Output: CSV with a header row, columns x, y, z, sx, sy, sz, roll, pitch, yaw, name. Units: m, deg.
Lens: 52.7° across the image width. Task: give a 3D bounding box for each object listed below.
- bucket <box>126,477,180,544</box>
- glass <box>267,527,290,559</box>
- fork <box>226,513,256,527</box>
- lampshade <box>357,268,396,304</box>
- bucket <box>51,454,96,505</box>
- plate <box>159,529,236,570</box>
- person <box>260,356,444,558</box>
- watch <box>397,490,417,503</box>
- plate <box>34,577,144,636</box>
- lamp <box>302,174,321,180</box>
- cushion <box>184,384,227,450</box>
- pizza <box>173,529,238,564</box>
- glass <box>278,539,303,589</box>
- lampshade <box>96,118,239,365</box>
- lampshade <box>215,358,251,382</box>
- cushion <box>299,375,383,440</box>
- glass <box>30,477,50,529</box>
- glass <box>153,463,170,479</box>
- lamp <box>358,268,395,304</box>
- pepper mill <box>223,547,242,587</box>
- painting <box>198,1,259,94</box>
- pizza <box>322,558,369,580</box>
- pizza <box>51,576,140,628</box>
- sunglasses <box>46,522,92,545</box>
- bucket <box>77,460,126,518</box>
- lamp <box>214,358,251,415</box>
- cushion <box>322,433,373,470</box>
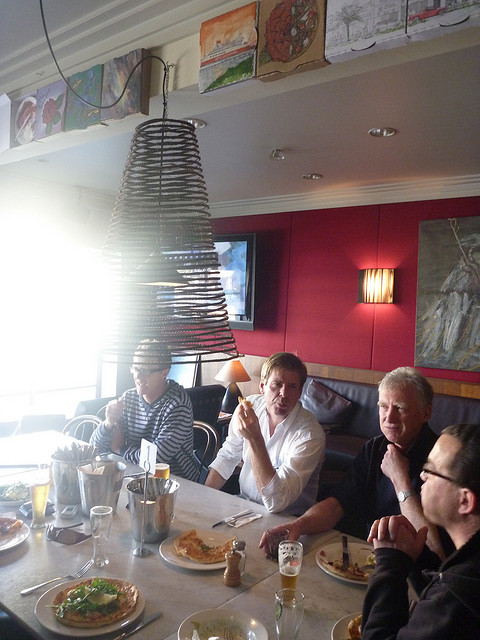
x,y,z,sx,sy,sz,roll,pitch,yaw,name
-0.261,0.587,1.518,0.166,0.148,0.171,0,-7,0,bucket
0.100,0.621,1.362,0.073,0.077,0.073,2,-8,-6,glass
0.010,0.667,1.636,0.027,0.004,0.104,8,9,44,fork
1.195,-0.290,4.329,0.324,0.310,0.308,4,-8,6,lampshade
-0.616,0.580,1.772,0.167,0.169,0.165,-2,-20,-1,bucket
-0.147,0.653,1.373,0.199,0.020,0.194,9,2,-24,plate
0.489,0.572,2.096,0.445,0.454,0.958,5,-10,-33,person
0.574,0.594,1.667,0.057,0.032,0.054,29,-46,-35,watch
-0.337,0.629,1.060,0.229,0.031,0.195,-1,0,26,plate
0.611,-1.213,4.124,0.152,0.036,0.208,-1,0,7,lamp
-0.237,0.646,3.559,0.163,0.436,0.546,-1,0,18,cushion
-0.105,0.624,1.380,0.159,0.086,0.177,-1,0,-13,pizza
0.126,0.613,1.212,0.054,0.116,0.198,-1,0,5,glass
-0.210,-0.271,1.421,0.413,0.724,0.467,-1,0,-31,lampshade
-0.086,0.521,4.752,0.424,0.217,0.413,0,-4,-2,lampshade
0.965,0.765,4.231,0.239,0.523,0.648,-1,0,-39,cushion
-0.646,0.581,1.557,0.055,0.159,0.142,-1,0,-23,glass
-0.293,0.552,1.806,0.060,0.054,0.058,2,2,-3,glass
1.193,-0.281,4.339,0.314,0.301,0.306,2,-8,4,lamp
-0.017,0.619,1.223,0.050,0.095,0.045,-1,0,-13,pepper mill
-0.049,-1.215,2.160,0.051,0.417,0.482,-4,7,-39,painting
0.277,0.665,1.299,0.094,0.019,0.123,-1,0,-19,pizza
-0.322,0.619,1.083,0.188,0.037,0.171,-1,0,-11,pizza
-0.528,0.649,1.494,0.128,0.031,0.170,-1,0,-22,sunglasses
-0.456,0.554,1.595,0.157,0.156,0.152,3,4,0,bucket
-0.066,0.640,4.843,0.416,0.506,0.408,-3,4,-41,lamp
0.848,1.060,3.868,0.345,0.252,0.638,-1,0,14,cushion
